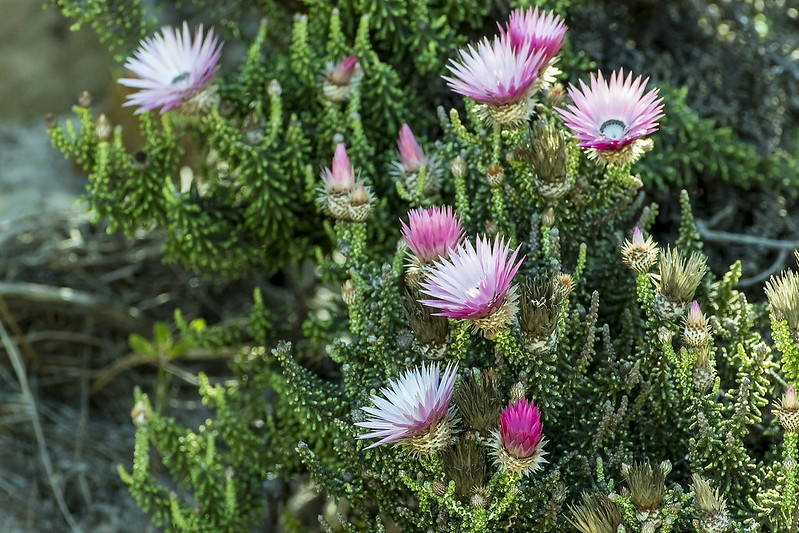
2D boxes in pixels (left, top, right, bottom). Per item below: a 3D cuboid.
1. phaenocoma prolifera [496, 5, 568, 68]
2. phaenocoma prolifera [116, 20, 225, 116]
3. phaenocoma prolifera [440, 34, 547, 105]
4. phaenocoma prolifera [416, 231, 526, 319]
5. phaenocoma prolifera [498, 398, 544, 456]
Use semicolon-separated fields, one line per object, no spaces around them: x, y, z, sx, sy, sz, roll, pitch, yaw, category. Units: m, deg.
0.238;-0.412;1.906;0.113;0.123;0.121;4;31;18;phaenocoma prolifera
-0.409;-0.353;1.941;0.167;0.084;0.183;28;81;36;phaenocoma prolifera
0.169;-0.344;1.845;0.129;0.064;0.143;-32;63;-2;phaenocoma prolifera
0.113;0.012;1.780;0.149;0.083;0.141;-43;44;-13;phaenocoma prolifera
0.206;0.264;1.790;0.072;0.099;0.077;-13;23;-25;phaenocoma prolifera
